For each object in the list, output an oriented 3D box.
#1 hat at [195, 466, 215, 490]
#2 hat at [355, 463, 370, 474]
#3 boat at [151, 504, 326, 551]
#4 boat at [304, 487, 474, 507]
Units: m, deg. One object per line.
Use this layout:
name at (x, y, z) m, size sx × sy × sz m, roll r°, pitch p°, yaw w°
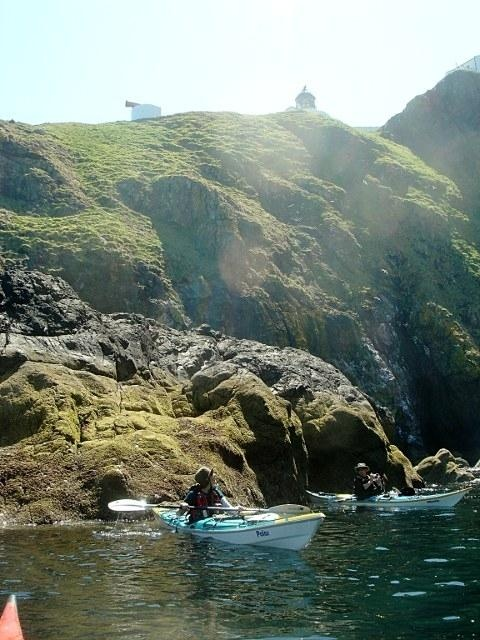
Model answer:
hat at (-0.619, 2.868, 13.723) m, size 0.289 × 0.381 × 0.350 m, roll -3°, pitch -29°, yaw 16°
hat at (3.412, 4.152, 21.217) m, size 0.275 × 0.257 × 0.536 m, roll -4°, pitch -12°, yaw -2°
boat at (-0.186, 3.638, 13.297) m, size 3.672 × 0.648 × 0.981 m, roll -15°, pitch -13°, yaw 40°
boat at (4.022, 5.032, 21.026) m, size 3.983 × 0.557 × 1.578 m, roll -15°, pitch -16°, yaw 41°
